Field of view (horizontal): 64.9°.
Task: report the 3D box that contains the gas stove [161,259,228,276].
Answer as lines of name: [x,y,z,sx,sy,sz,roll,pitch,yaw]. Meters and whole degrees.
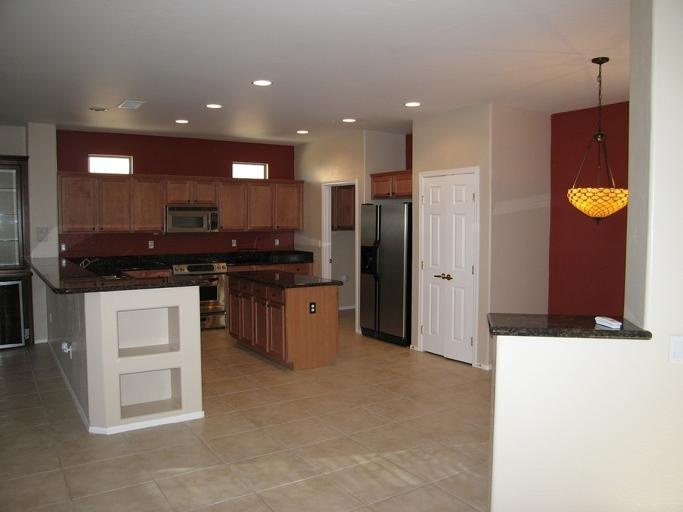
gas stove: [-2.264,0.187,8.576,0.905,0.175,0.301,-2,8,-17]

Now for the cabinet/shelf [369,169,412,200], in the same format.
cabinet/shelf: [0.722,-1.063,7.934,0.149,0.413,0.880,-6,10,-33]

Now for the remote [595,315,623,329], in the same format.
remote: [1.772,0.432,3.552,0.073,0.041,0.116,1,4,-8]

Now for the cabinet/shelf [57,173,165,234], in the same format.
cabinet/shelf: [-3.426,-0.809,8.089,1.464,0.850,0.338,-3,9,-17]

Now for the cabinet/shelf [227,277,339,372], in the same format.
cabinet/shelf: [-0.827,0.793,7.281,0.809,1.006,1.849,-2,4,-30]
